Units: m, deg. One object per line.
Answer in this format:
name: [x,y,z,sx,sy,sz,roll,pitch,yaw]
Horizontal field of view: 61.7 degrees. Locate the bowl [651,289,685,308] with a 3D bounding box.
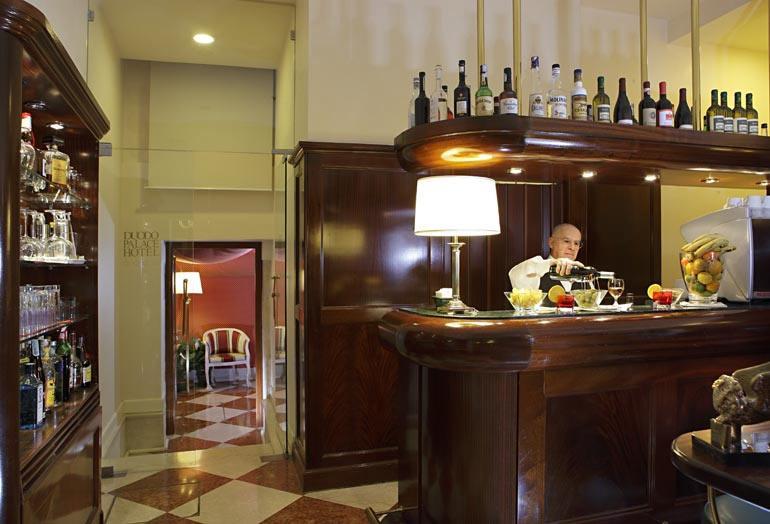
bowl: [1.962,0.248,4.463,0.145,0.070,0.144,0,-3,0]

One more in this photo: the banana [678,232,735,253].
banana: [2.318,-0.130,4.611,0.227,0.110,0.171,-16,-8,41]

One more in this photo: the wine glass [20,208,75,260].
wine glass: [-2.232,-0.180,4.237,0.133,0.301,0.334,1,0,24]

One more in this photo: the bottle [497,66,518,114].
bottle: [0.865,-1.200,4.535,0.142,0.274,0.421,-4,2,11]

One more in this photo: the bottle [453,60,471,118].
bottle: [0.553,-1.242,4.626,0.111,0.345,0.363,-4,2,6]

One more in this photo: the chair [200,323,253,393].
chair: [-1.612,0.958,6.508,0.443,0.578,0.411,-1,-2,-26]

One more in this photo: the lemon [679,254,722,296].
lemon: [2.262,0.103,4.599,0.256,0.321,0.276,0,-8,5]

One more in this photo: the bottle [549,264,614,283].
bottle: [1.315,0.085,4.564,0.595,0.170,0.191,2,-2,21]

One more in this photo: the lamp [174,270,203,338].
lamp: [-1.775,0.379,5.830,0.250,0.618,0.068,-4,2,-26]

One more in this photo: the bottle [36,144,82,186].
bottle: [-2.186,-0.646,4.298,0.162,0.309,0.309,-2,-3,13]

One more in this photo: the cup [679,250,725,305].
cup: [2.265,0.115,4.582,0.286,0.372,0.324,0,-7,0]

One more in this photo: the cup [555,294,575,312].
cup: [1.224,0.281,4.370,0.102,0.104,0.105,2,-4,0]

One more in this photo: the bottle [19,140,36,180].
bottle: [-2.188,-0.631,3.955,0.074,0.275,0.238,-4,2,-24]

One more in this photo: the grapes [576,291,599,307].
grapes: [1.378,0.254,4.391,0.147,0.090,0.079,-4,2,7]

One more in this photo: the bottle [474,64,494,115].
bottle: [0.701,-1.204,4.531,0.126,0.296,0.351,-3,2,10]
